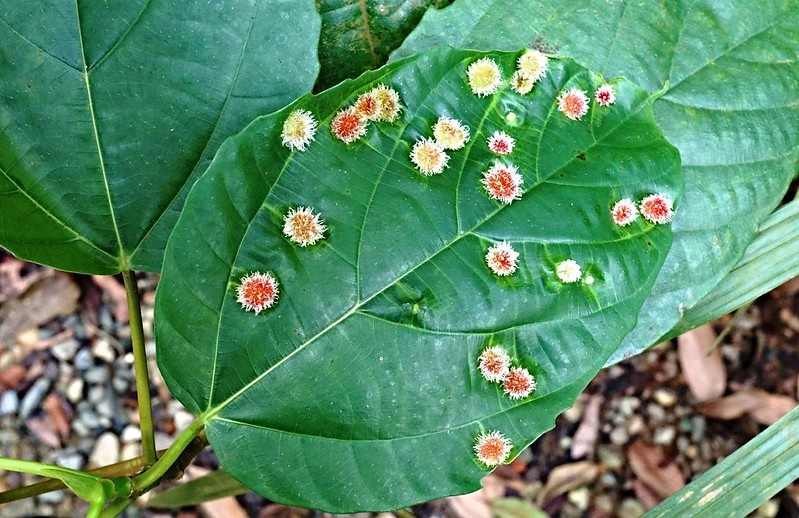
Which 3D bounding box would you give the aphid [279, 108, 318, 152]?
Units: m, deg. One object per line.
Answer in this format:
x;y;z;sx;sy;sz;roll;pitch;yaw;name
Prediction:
-0.284;-0.366;2.185;0.109;0.077;0.068;-34;-34;9;aphid

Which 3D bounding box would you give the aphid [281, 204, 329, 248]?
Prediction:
-0.272;-0.095;2.206;0.124;0.091;0.068;-21;-33;-10;aphid

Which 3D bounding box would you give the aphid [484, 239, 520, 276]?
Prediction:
0.294;-0.015;2.255;0.096;0.093;0.044;-29;-66;-45;aphid

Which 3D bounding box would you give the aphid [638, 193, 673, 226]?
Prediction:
0.754;-0.149;2.272;0.106;0.088;0.045;-13;-34;-21;aphid

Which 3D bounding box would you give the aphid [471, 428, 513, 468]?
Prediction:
0.271;0.552;2.251;0.115;0.097;0.060;-29;-33;2;aphid

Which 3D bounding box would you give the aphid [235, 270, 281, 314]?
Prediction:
-0.404;0.093;2.212;0.126;0.087;0.073;-21;-33;-10;aphid
